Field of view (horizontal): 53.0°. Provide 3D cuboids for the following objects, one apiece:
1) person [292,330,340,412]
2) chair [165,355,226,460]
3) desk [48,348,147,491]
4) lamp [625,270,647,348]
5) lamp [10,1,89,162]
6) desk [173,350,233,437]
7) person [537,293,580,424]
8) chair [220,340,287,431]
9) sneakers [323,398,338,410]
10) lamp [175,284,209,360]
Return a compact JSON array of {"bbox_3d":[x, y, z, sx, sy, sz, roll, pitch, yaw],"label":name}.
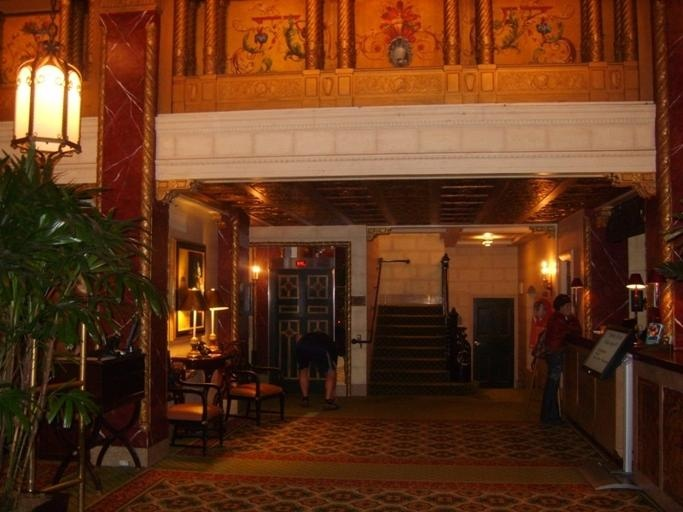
[{"bbox_3d":[-0.459,1.997,12.364,0.720,1.428,1.704,0,0,-2],"label":"person"},{"bbox_3d":[-2.109,2.157,9.860,1.019,1.624,1.007,0,-1,9],"label":"chair"},{"bbox_3d":[-2.902,1.837,8.462,0.581,1.263,1.309,2,-4,-34],"label":"desk"},{"bbox_3d":[4.411,0.699,10.337,0.256,0.910,0.257,-17,17,-33],"label":"lamp"},{"bbox_3d":[-2.747,-1.717,6.459,0.570,1.721,2.163,0,1,-22],"label":"lamp"},{"bbox_3d":[-2.071,2.089,9.703,0.837,1.212,1.019,1,-1,12],"label":"desk"},{"bbox_3d":[3.303,1.584,10.472,0.568,1.291,0.825,0,0,16],"label":"person"},{"bbox_3d":[-1.391,1.963,10.898,1.003,1.245,0.968,1,-4,-16],"label":"chair"},{"bbox_3d":[-0.197,2.580,11.959,0.243,0.116,0.124,0,-1,4],"label":"sneakers"},{"bbox_3d":[-2.300,0.995,10.613,0.449,1.008,0.963,0,0,-11],"label":"lamp"}]
